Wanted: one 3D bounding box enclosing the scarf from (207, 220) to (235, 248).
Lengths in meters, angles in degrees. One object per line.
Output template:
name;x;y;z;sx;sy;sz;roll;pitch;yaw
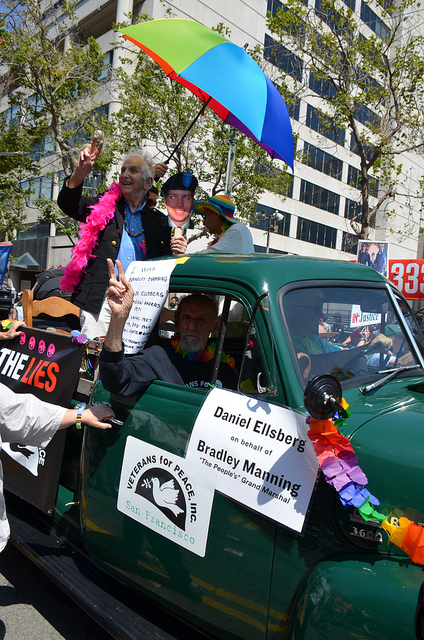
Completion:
scarf;0.053;-0.749;3.755;0.112;0.268;0.214;53;12;8

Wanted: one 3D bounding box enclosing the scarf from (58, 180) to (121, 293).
scarf;-1.000;-0.663;3.548;0.411;0.890;0.200;1;3;42
